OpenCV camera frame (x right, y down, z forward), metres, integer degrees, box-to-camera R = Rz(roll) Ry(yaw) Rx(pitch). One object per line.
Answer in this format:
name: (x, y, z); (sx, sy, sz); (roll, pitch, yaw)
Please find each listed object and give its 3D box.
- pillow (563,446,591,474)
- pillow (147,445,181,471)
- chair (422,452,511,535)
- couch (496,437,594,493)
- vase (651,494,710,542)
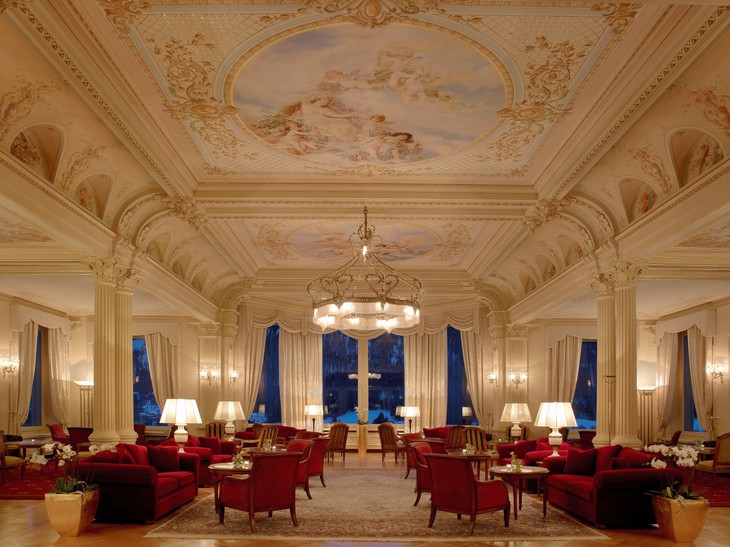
pillow: (3.526, 3.156, 9.211); (0.589, 0.456, 0.217); (0, -19, 31)
pillow: (-3.384, 3.118, 9.540); (0.590, 0.458, 0.522); (-1, 1, -2)
chair: (1.477, 3.209, 8.097); (1.045, 0.900, 0.825); (18, -23, -38)
couch: (3.123, 3.415, 9.702); (0.998, 0.691, 1.610); (1, -14, -2)
vase: (4.047, 3.150, 7.173); (0.659, 0.492, 0.681); (2, -7, 24)
